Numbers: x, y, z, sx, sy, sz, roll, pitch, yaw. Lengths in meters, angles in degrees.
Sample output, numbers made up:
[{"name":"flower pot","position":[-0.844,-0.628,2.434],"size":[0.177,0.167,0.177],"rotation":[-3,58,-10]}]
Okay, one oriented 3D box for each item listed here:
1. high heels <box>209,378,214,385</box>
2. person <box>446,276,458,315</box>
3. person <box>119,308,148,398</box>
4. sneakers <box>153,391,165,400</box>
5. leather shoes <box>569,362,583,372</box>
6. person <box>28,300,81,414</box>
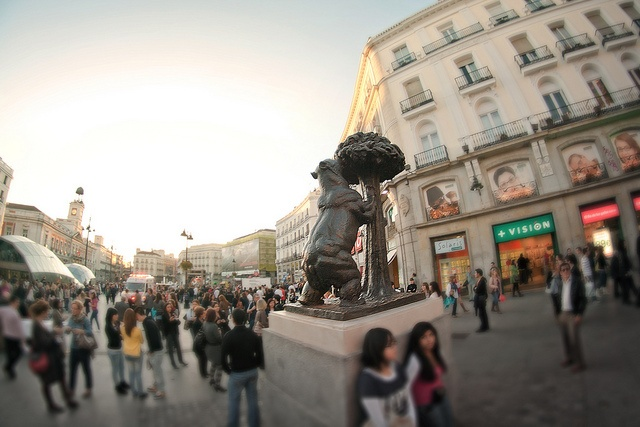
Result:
[{"name":"high heels","position":[-2.469,3.849,7.821],"size":[0.087,0.143,0.271],"rotation":[1,-12,-23]},{"name":"person","position":[4.876,3.000,12.444],"size":[0.405,1.480,0.954],"rotation":[-9,-13,19]},{"name":"person","position":[-4.102,3.037,7.534],"size":[0.535,1.859,0.622],"rotation":[4,-15,-36]},{"name":"sneakers","position":[-3.443,3.883,7.312],"size":[0.096,0.100,0.241],"rotation":[-5,-11,28]},{"name":"leather shoes","position":[5.053,3.001,6.671],"size":[0.229,0.144,0.137],"rotation":[-13,-14,36]},{"name":"person","position":[-3.745,1.983,4.674],"size":[0.360,1.589,0.990],"rotation":[2,-14,-30]}]
